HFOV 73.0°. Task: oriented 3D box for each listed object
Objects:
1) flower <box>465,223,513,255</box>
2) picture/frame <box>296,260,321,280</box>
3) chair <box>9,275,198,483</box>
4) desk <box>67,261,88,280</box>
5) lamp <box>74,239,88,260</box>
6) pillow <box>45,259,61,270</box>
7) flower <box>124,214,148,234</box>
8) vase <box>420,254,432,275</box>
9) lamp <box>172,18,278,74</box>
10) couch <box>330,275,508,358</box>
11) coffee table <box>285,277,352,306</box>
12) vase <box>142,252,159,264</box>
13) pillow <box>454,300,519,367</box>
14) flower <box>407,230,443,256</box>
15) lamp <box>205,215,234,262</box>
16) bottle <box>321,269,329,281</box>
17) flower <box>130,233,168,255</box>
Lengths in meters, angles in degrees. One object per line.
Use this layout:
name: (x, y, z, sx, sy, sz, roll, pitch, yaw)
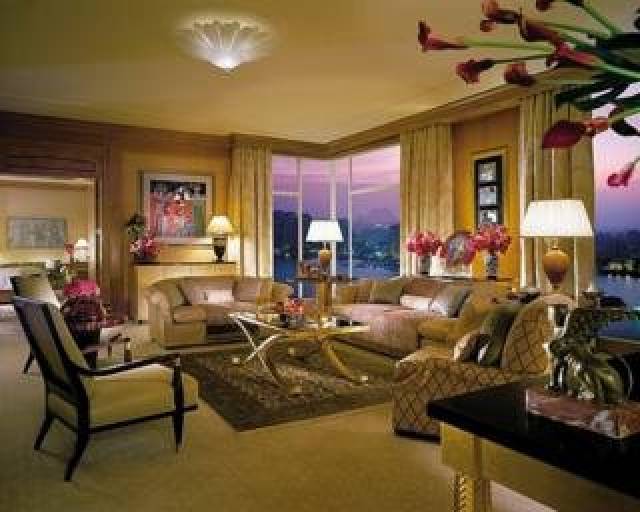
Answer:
flower: (2.169, -0.164, 5.640, 0.467, 0.469, 0.468, 1, -2, -7)
picture/frame: (-0.176, 0.247, 7.134, 0.329, 0.281, 0.116, 0, -9, 5)
chair: (-1.425, 0.739, 3.163, 1.291, 1.311, 0.823, -2, 3, -41)
desk: (-6.277, 0.408, 11.308, 0.507, 0.466, 0.336, -1, -1, -29)
lamp: (-6.716, -0.171, 12.264, 0.312, 0.655, 0.539, -1, 2, -30)
pillow: (-7.121, 0.250, 11.661, 0.306, 0.288, 0.093, 1, -14, 16)
flower: (-3.231, -0.571, 7.692, 0.360, 0.377, 0.207, 10, 6, -4)
vase: (1.555, 0.131, 6.367, 0.167, 0.283, 0.174, 0, 2, 6)
lamp: (-1.038, -2.226, 4.884, 1.035, 0.317, 1.094, -9, 7, -29)
couch: (1.296, 0.682, 5.349, 0.975, 0.859, 1.994, 4, -5, -30)
coffee table: (0.064, 0.502, 7.158, 0.750, 0.498, 0.747, 1, -2, -20)
vase: (-2.915, 0.041, 7.539, 0.189, 0.176, 0.188, -1, 3, -26)
pillow: (1.088, 0.527, 2.892, 0.410, 0.408, 0.156, 1, 22, -47)
flower: (1.534, -0.178, 6.457, 0.426, 0.429, 0.427, -1, 3, -22)
lamp: (-1.868, -0.320, 8.234, 0.509, 0.879, 0.592, 0, 2, -12)
bottle: (0.106, 0.304, 6.973, 0.132, 0.218, 0.133, 0, -1, 0)
flower: (-2.978, -0.172, 7.677, 0.453, 0.378, 0.453, -1, 2, 5)
